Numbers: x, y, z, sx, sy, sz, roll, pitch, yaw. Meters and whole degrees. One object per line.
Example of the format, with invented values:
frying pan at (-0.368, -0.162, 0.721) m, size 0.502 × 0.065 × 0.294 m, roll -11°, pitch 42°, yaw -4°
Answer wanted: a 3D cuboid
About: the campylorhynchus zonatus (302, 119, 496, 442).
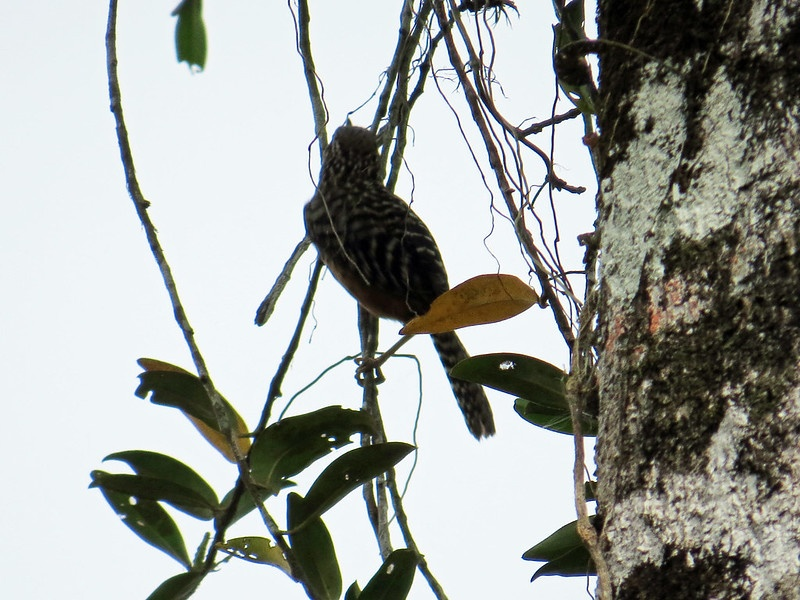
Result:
campylorhynchus zonatus at (0.000, -0.070, 3.850) m, size 0.263 × 0.794 × 0.543 m, roll -7°, pitch -66°, yaw -33°
